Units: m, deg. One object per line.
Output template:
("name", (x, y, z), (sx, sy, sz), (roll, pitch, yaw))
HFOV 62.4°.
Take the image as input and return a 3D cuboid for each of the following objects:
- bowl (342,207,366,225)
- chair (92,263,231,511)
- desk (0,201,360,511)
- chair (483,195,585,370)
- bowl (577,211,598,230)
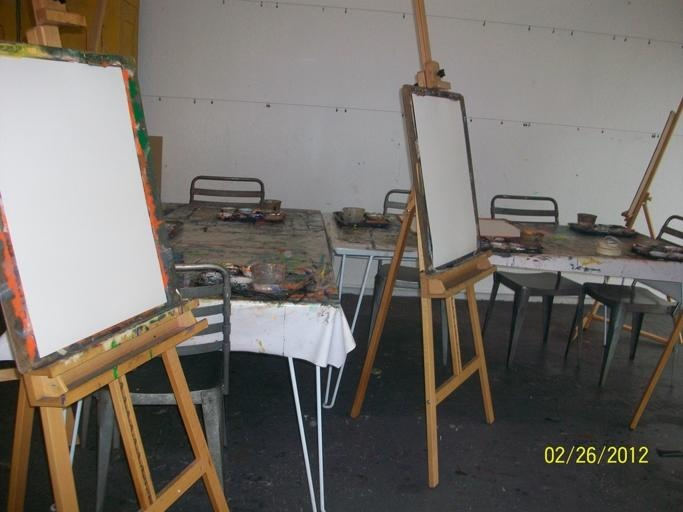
("bowl", (0.065, -0.236, 3.303), (0.106, 0.067, 0.108), (0, 5, 0))
("chair", (-0.680, 0.470, 2.164), (0.516, 0.975, 0.424), (-1, 14, -12))
("desk", (-0.580, 0.254, 2.509), (1.219, 0.764, 1.458), (1, 16, -1))
("chair", (1.197, 0.130, 3.539), (0.552, 0.983, 0.646), (0, 12, -18))
("bowl", (1.601, -0.230, 3.654), (0.122, 0.099, 0.134), (2, 3, 1))
